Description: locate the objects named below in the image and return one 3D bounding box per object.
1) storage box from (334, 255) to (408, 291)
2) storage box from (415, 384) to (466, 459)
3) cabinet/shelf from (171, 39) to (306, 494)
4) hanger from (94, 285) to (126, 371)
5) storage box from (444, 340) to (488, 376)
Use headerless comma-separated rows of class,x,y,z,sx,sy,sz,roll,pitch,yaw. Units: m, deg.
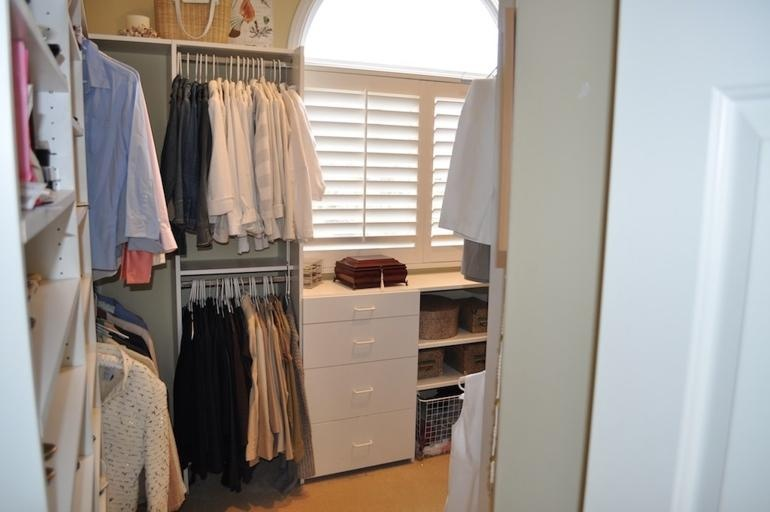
storage box,-0.074,0.089,3.058,0.389,0.160,0.215,2,-1,-6
storage box,0.298,0.923,3.257,0.257,0.347,0.312,1,-1,16
cabinet/shelf,-0.674,0.067,2.742,0.704,2.027,0.472,2,0,-22
hanger,-1.029,0.272,2.145,0.166,0.237,0.074,-3,7,42
storage box,0.471,0.587,3.373,0.203,0.132,0.205,-3,6,-23
